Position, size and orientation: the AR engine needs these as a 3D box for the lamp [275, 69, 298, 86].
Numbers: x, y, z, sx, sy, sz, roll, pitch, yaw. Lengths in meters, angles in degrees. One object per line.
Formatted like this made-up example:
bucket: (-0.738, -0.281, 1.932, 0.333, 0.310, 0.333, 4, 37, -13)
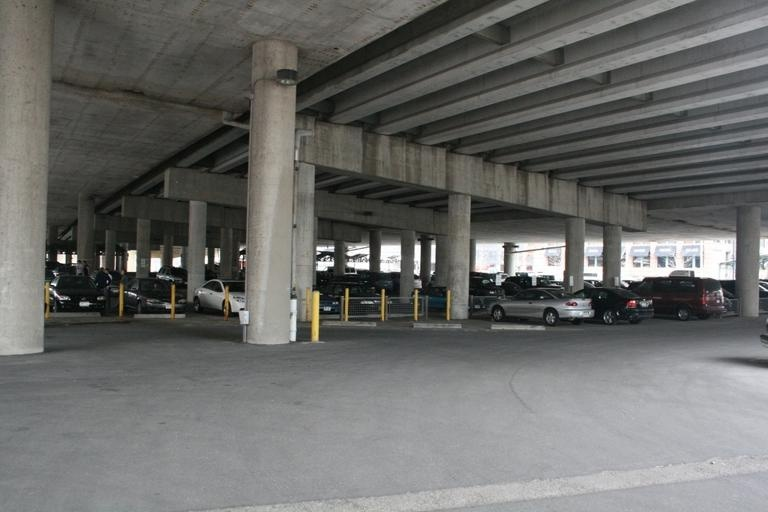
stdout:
lamp: (-2.973, -5.448, 19.988, 0.623, 0.411, 0.638, 1, -4, -19)
